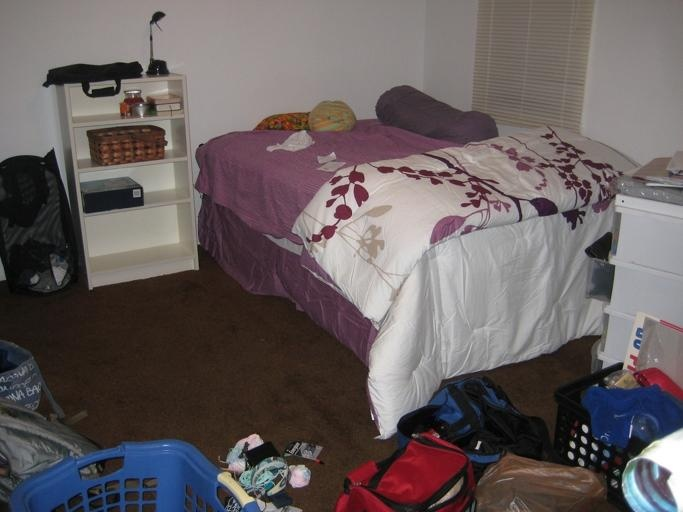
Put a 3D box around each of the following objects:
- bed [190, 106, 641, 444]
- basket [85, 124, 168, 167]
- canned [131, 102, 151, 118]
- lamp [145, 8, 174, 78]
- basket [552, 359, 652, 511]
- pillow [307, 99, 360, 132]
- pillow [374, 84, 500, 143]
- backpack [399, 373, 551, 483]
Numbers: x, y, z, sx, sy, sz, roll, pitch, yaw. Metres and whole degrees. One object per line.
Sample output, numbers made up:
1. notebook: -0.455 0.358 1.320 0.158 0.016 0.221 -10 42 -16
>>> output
1. bed: 0.648 0.043 2.911 1.739 0.868 1.754 -13 29 -38
2. basket: -1.374 -0.701 3.409 0.379 0.172 0.294 -13 28 -28
3. canned: -1.265 -0.926 3.322 0.130 0.082 0.093 -9 20 -19
4. lamp: -1.210 -1.388 3.418 0.159 0.412 0.369 -7 19 -15
5. basket: 0.966 0.671 2.035 0.377 0.258 0.390 -12 23 -17
6. pillow: -0.076 -1.023 3.686 0.252 0.149 0.256 11 34 27
7. pillow: 0.653 -0.973 3.671 0.467 0.263 0.774 -10 30 -37
8. backpack: 0.564 0.669 2.131 0.363 0.153 0.369 -9 22 -23
